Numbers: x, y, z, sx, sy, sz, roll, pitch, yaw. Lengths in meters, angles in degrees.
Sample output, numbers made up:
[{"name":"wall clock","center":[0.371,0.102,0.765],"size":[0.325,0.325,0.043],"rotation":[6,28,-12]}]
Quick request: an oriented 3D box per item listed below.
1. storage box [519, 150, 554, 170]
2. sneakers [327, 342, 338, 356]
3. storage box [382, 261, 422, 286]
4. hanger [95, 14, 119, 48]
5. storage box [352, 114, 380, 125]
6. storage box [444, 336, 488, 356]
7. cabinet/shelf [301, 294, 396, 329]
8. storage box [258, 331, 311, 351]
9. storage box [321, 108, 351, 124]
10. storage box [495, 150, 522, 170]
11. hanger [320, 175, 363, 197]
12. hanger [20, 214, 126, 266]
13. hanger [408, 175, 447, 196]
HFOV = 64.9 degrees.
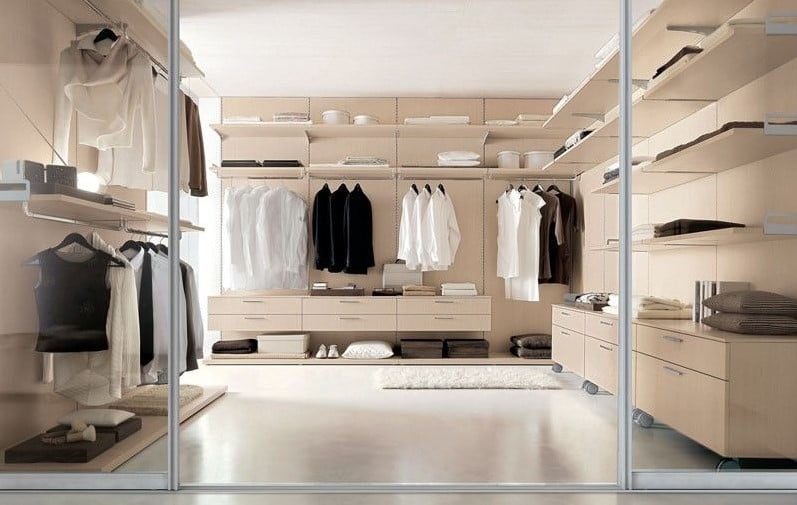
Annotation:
[{"name":"storage box","center":[1.540,-1.046,7.004],"size":[0.250,0.136,0.242],"rotation":[0,1,8]},{"name":"sneakers","center":[-0.703,1.070,6.787],"size":[0.106,0.114,0.126],"rotation":[3,-4,-36]},{"name":"storage box","center":[0.043,0.246,6.918],"size":[0.513,0.318,0.265],"rotation":[0,-4,-3]},{"name":"hanger","center":[-2.117,-1.590,4.543],"size":[0.141,0.137,0.038],"rotation":[30,-26,6]},{"name":"storage box","center":[-0.380,-1.490,7.014],"size":[0.303,0.114,0.150],"rotation":[-1,11,2]},{"name":"storage box","center":[0.728,1.018,6.704],"size":[0.419,0.170,0.143],"rotation":[-2,11,-4]},{"name":"cabinet/shelf","center":[-0.600,0.665,6.868],"size":[1.047,0.345,0.289],"rotation":[1,-7,-20]},{"name":"storage box","center":[-1.251,0.979,6.763],"size":[0.365,0.119,0.248],"rotation":[0,-2,3]},{"name":"storage box","center":[-0.705,-1.529,7.036],"size":[0.325,0.165,0.129],"rotation":[-2,11,-6]},{"name":"storage box","center":[1.234,-1.055,7.042],"size":[0.281,0.185,0.287],"rotation":[0,11,8]},{"name":"hanger","center":[-0.636,-0.733,7.019],"size":[0.608,0.309,0.174],"rotation":[0,-6,2]},{"name":"hanger","center":[-2.279,-0.073,4.427],"size":[0.619,0.327,0.031],"rotation":[3,7,-16]},{"name":"hanger","center":[0.300,-0.755,6.951],"size":[0.449,0.188,0.113],"rotation":[-1,11,2]}]
